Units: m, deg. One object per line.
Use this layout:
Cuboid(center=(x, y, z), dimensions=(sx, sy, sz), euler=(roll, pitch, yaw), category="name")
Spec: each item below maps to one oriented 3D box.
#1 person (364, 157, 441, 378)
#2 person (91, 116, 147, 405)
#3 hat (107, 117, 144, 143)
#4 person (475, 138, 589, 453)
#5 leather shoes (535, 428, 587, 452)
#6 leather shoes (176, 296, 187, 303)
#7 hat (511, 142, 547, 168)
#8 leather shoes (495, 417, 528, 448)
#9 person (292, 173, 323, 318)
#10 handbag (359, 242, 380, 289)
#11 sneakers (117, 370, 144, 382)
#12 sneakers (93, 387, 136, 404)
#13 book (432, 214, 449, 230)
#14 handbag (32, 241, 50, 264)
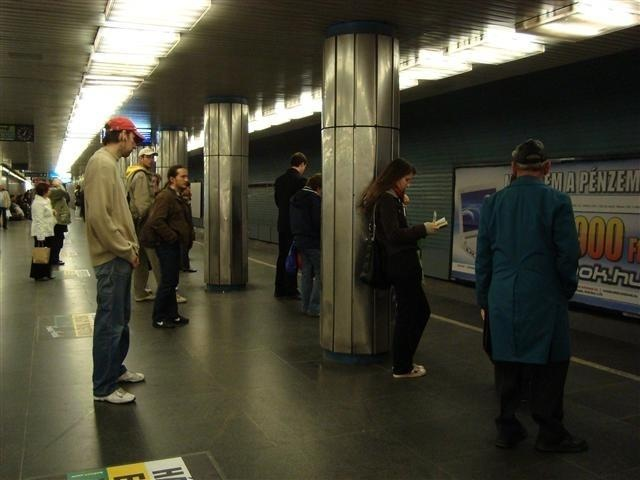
Cuboid(center=(0.839, 0.320, 5.934), dimensions=(0.714, 2.378, 0.902), euler=(-1, 5, -21), category="person")
Cuboid(center=(-2.012, 0.172, 5.413), dimensions=(0.520, 2.765, 0.608), euler=(-1, 4, -11), category="person")
Cuboid(center=(-1.950, -1.085, 5.589), dimensions=(0.361, 0.190, 0.230), euler=(1, 13, -34), category="hat")
Cuboid(center=(1.722, 0.457, 4.513), dimensions=(0.861, 2.525, 0.373), euler=(2, 5, 26), category="person")
Cuboid(center=(1.963, 1.652, 4.596), dimensions=(0.443, 0.216, 0.179), euler=(0, -2, -6), category="leather shoes")
Cuboid(center=(-2.384, 1.043, 9.692), dimensions=(0.087, 0.115, 0.270), euler=(4, 6, 30), category="leather shoes")
Cuboid(center=(1.765, -0.724, 4.673), dimensions=(0.188, 0.160, 0.275), euler=(2, 16, 12), category="hat")
Cuboid(center=(1.582, 1.602, 4.591), dimensions=(0.132, 0.251, 0.351), euler=(0, 8, 40), category="leather shoes")
Cuboid(center=(-0.224, 0.098, 8.536), dimensions=(0.475, 2.209, 0.759), euler=(0, 4, -3), category="person")
Cuboid(center=(0.549, 0.261, 6.009), dimensions=(0.248, 0.582, 0.533), euler=(1, 0, -1), category="handbag")
Cuboid(center=(-2.008, 1.456, 5.874), dimensions=(0.250, 0.110, 0.116), euler=(-2, 2, -12), category="sneakers")
Cuboid(center=(-1.947, 1.511, 5.315), dimensions=(0.396, 0.176, 0.147), euler=(1, 4, -5), category="sneakers")
Cuboid(center=(1.277, -0.166, 5.860), dimensions=(0.126, 0.153, 0.664), euler=(2, 6, 15), category="book")
Cuboid(center=(-5.958, 0.278, 11.839), dimensions=(0.415, 0.595, 0.155), euler=(4, 13, 18), category="handbag")
